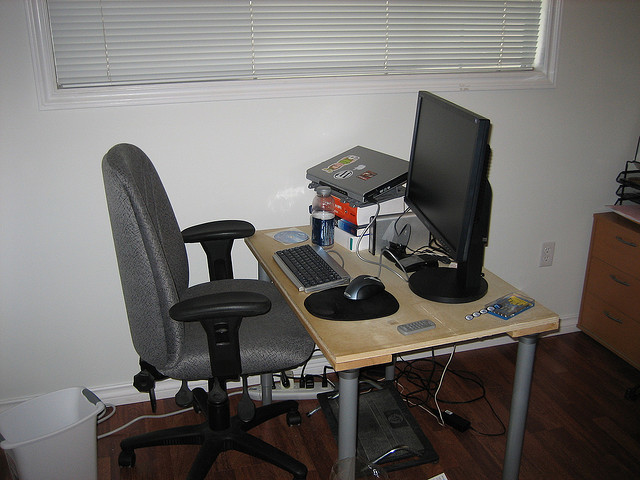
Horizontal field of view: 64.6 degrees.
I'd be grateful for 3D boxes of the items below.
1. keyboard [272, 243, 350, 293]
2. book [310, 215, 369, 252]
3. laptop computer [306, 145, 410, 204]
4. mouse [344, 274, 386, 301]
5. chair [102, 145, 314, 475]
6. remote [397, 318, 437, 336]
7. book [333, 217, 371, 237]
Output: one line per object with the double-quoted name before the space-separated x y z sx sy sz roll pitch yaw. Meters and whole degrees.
"keyboard" -0.044 0.109 2.173 0.234 0.050 0.363 -10 28 -26
"book" 0.116 -0.026 2.371 0.184 0.104 0.142 -2 21 -17
"laptop computer" 0.205 -0.337 2.438 0.346 0.084 0.364 -30 36 -24
"mouse" 0.163 0.183 1.954 0.144 0.045 0.079 -17 31 -34
"chair" -0.508 0.307 2.288 0.946 1.437 1.012 -2 29 -11
"remote" 0.341 0.306 1.816 0.118 0.019 0.055 -8 24 -12
"book" 0.148 -0.055 2.345 0.113 0.026 0.115 -4 20 -30
